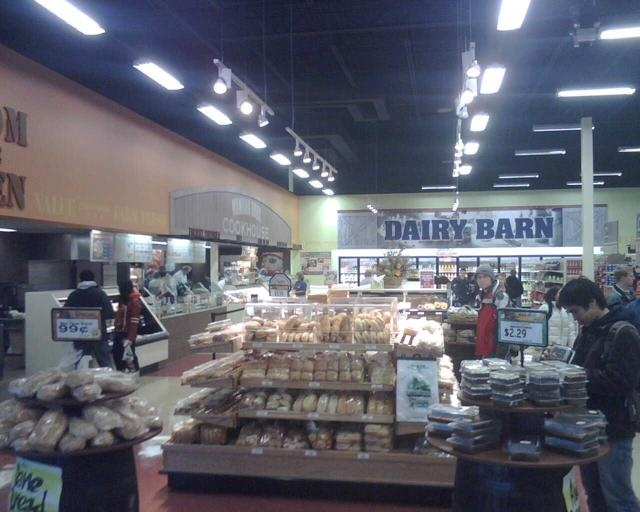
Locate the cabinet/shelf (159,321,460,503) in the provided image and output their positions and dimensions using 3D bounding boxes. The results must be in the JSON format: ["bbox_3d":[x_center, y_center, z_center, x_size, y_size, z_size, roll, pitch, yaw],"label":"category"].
[{"bbox_3d":[-0.195,1.740,5.210,2.219,1.213,1.742,0,2,7],"label":"cabinet/shelf"}]

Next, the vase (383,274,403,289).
[{"bbox_3d":[1.320,0.480,9.538,0.245,0.166,0.245,1,1,-30],"label":"vase"}]

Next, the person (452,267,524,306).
[{"bbox_3d":[3.504,0.674,10.928,1.163,0.801,1.138,0,1,20],"label":"person"}]

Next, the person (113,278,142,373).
[{"bbox_3d":[-2.973,1.097,7.942,0.389,1.404,0.421,0,-1,-22],"label":"person"}]

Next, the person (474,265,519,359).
[{"bbox_3d":[2.453,0.867,7.409,0.446,1.425,1.283,0,-1,17],"label":"person"}]

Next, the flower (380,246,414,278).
[{"bbox_3d":[1.439,0.166,9.873,0.645,0.578,0.772,1,6,10],"label":"flower"}]

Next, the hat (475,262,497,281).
[{"bbox_3d":[3.151,0.289,9.830,0.264,0.290,0.386,-3,-28,31],"label":"hat"}]
